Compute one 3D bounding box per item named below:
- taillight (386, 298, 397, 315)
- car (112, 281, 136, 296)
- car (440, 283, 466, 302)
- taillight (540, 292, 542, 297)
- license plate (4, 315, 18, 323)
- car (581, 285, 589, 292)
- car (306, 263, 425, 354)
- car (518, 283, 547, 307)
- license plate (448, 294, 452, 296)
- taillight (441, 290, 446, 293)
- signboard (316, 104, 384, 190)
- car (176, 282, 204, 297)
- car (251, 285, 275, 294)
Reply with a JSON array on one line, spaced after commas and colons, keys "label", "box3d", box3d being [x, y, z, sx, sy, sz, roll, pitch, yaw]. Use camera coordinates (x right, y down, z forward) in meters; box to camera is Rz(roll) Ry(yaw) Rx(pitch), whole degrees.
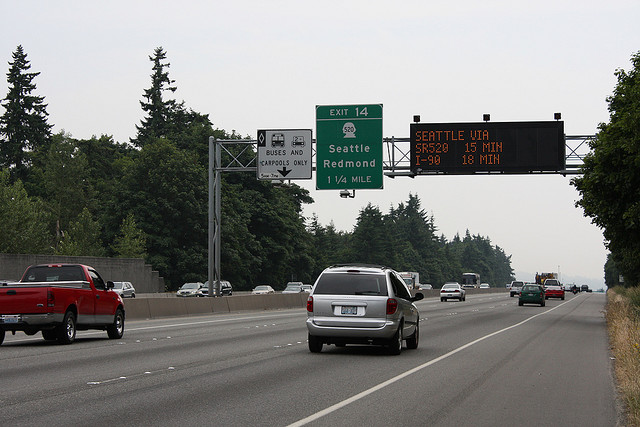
[{"label": "taillight", "box3d": [2.044, 2.618, 19.030, 0.251, 0.399, 0.384, 1, -17, 8]}, {"label": "car", "box3d": [-16.481, 6.419, 57.658, 0.917, 0.856, 1.628, -4, -14, 17]}, {"label": "car", "box3d": [15.124, 9.076, 78.019, 2.359, 1.964, 3.733, -3, -7, 16]}, {"label": "taillight", "box3d": [18.104, 6.702, 55.790, 0.102, 0.360, 0.424, -5, -7, 37]}, {"label": "license plate", "box3d": [-9.445, 3.251, 20.823, 0.268, 0.284, 0.078, 3, -10, 8]}, {"label": "car", "box3d": [69.689, 19.964, 179.395, 1.340, 1.227, 2.357, 1, 0, 13]}, {"label": "car", "box3d": [1.561, 2.801, 20.575, 2.044, 1.733, 3.609, -1, -5, 14]}, {"label": "car", "box3d": [17.638, 6.876, 56.739, 1.913, 1.889, 2.747, -2, -7, 15]}, {"label": "license plate", "box3d": [14.743, 9.307, 77.186, 0.422, 0.149, 0.065, -3, -6, 17]}, {"label": "taillight", "box3d": [14.046, 8.912, 77.473, 0.358, 0.290, 0.122, -2, -6, 14]}, {"label": "signboard", "box3d": [1.730, -3.834, 39.624, 3.967, 5.579, 0.063, 0, -19, 0]}, {"label": "car", "box3d": [-13.431, 7.943, 70.774, 1.362, 1.177, 2.651, -2, -11, 8]}, {"label": "car", "box3d": [-6.253, 8.550, 75.724, 1.383, 1.153, 3.267, -2, -12, 11]}]
